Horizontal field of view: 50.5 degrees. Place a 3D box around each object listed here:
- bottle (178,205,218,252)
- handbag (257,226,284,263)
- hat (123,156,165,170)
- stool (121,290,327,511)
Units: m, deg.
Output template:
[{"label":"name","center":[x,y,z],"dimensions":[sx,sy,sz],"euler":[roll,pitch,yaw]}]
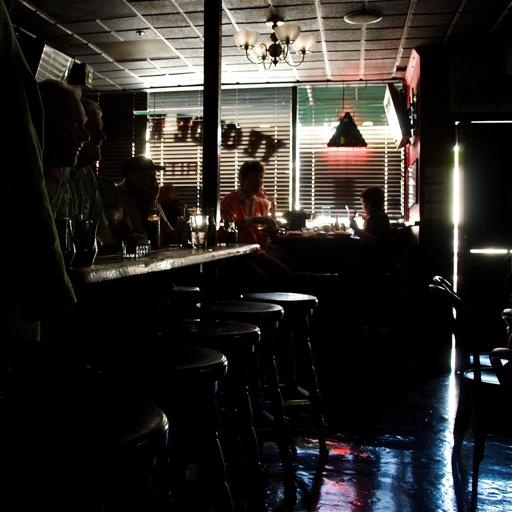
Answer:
[{"label":"bottle","center":[-0.291,-0.138,2.691],"dimensions":[0.176,0.225,0.187],"euler":[0,-5,0]},{"label":"handbag","center":[0.110,-0.083,3.917],"dimensions":[0.099,0.169,0.267],"euler":[-12,24,3]},{"label":"hat","center":[-0.554,-0.467,2.744],"dimensions":[0.181,0.073,0.119],"euler":[-3,6,-18]},{"label":"stool","center":[-0.004,0.573,2.320],"dimensions":[0.683,0.912,0.696],"euler":[-1,-4,0]}]
